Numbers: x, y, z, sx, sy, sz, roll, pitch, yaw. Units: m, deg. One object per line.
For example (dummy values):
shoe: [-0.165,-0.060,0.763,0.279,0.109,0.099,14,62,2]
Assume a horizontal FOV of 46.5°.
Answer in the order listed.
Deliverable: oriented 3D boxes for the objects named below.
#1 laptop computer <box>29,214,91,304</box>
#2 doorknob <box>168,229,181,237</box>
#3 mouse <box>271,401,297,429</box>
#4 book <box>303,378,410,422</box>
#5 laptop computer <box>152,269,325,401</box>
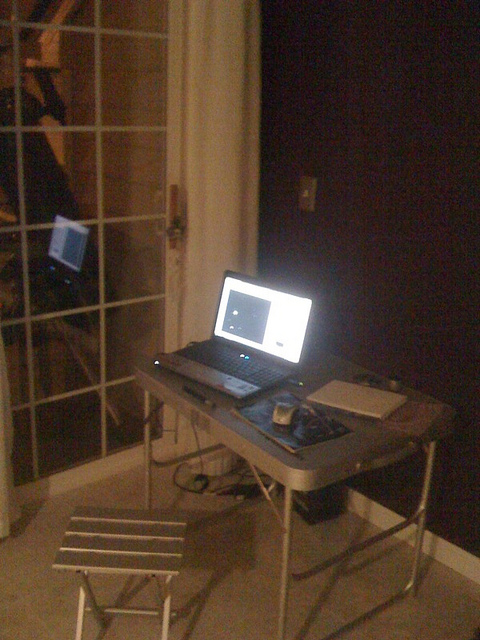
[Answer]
laptop computer: [-0.651,-0.227,1.986,0.206,0.213,0.164,41,34,27]
doorknob: [-0.259,-0.345,2.215,0.038,0.030,0.023,3,8,0]
mouse: [0.113,0.243,1.432,0.057,0.055,0.053,10,8,11]
book: [0.337,0.226,1.632,0.245,0.050,0.191,14,10,33]
laptop computer: [-0.022,0.032,1.821,0.432,0.268,0.386,17,24,42]
